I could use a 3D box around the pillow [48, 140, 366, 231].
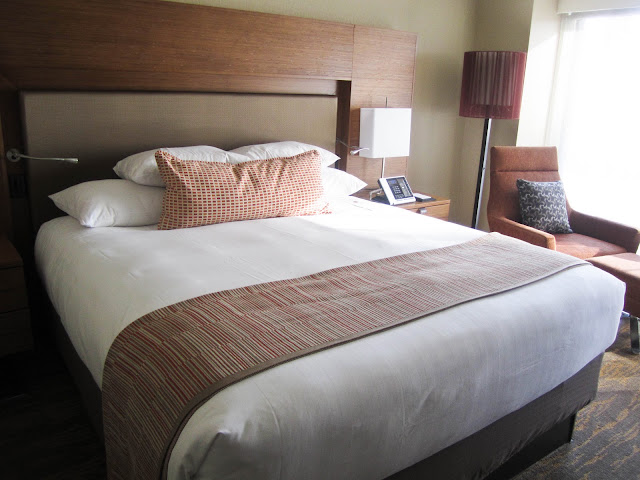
[{"bbox_3d":[-0.620,-0.440,3.063,2.163,0.455,0.639,-8,17,-31],"label":"pillow"}]
